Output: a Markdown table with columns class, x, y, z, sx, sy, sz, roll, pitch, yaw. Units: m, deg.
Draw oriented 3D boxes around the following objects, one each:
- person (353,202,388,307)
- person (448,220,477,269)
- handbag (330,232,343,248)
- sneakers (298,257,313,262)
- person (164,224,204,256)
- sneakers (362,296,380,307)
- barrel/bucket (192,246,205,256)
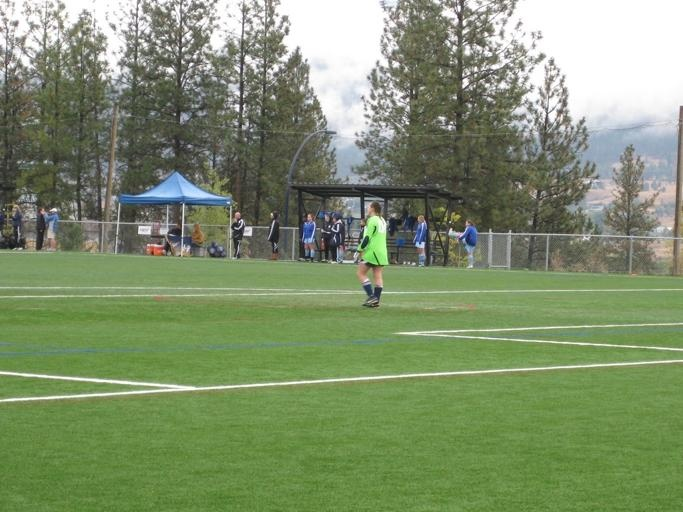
| class | x | y | z | sx | sy | sz | roll | pitch | yaw |
| --- | --- | --- | --- | --- | --- | --- | --- | --- | --- |
| person | 0.435 | -0.019 | 20.801 | 0.521 | 1.872 | 0.862 | 1 | 7 | 1 |
| person | 4.336 | -0.383 | 43.904 | 1.135 | 1.852 | 0.880 | -7 | -18 | 33 |
| handbag | -0.489 | -0.570 | 45.215 | 0.592 | 0.786 | 0.437 | 1 | -2 | -19 |
| sneakers | -1.815 | 0.168 | 47.164 | 0.191 | 0.257 | 0.636 | -5 | 2 | -29 |
| person | -6.723 | -0.566 | 47.386 | 1.360 | 1.127 | 1.393 | 0 | 2 | 18 |
| sneakers | 0.395 | 0.828 | 20.680 | 0.320 | 0.152 | 0.124 | -3 | -9 | 23 |
| barrel/bucket | -6.246 | -0.177 | 47.548 | 0.371 | 0.361 | 0.364 | 0 | -2 | 0 |
